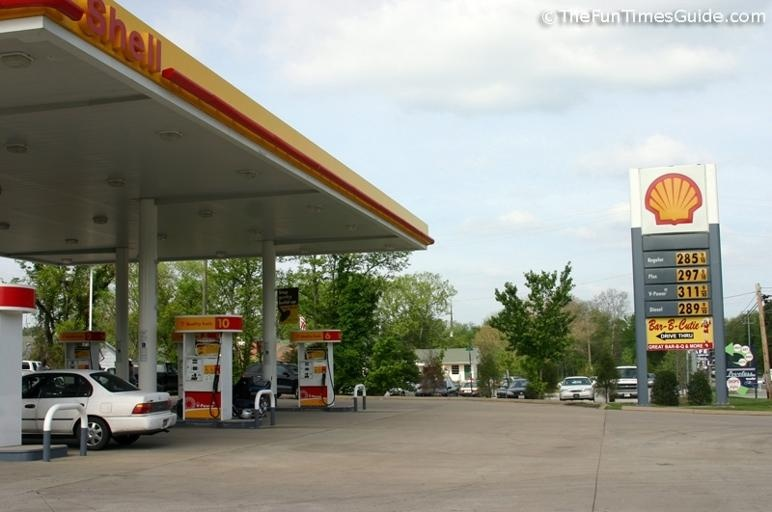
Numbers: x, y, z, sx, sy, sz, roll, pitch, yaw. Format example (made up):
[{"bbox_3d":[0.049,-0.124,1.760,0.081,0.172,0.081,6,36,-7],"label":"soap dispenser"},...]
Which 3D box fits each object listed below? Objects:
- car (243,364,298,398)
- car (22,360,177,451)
[{"bbox_3d":[-5.641,6.208,40.625,3.082,1.438,1.910,-4,-4,6],"label":"car"},{"bbox_3d":[-7.628,3.988,21.796,3.558,2.041,1.226,-3,-11,13],"label":"car"}]
